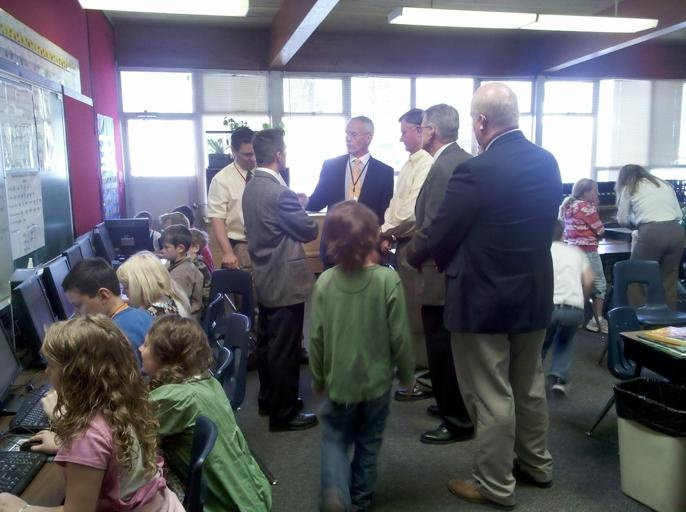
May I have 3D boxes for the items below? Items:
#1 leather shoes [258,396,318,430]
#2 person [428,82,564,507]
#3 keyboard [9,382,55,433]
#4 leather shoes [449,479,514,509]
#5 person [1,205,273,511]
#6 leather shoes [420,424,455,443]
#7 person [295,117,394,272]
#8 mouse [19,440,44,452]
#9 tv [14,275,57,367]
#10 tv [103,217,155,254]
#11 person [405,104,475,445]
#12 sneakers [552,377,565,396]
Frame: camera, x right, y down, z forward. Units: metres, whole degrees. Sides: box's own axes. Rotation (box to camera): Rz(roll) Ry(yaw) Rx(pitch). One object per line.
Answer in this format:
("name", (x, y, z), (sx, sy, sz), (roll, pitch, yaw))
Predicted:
("leather shoes", (-0.421, 1.118, 3.815), (0.476, 0.224, 0.181), (-3, 8, -13))
("person", (0.876, 0.208, 2.976), (0.665, 2.234, 0.555), (-9, 16, -33))
("keyboard", (-1.447, 0.737, 2.523), (0.142, 0.059, 0.414), (8, 11, -14))
("leather shoes", (0.778, 1.267, 3.031), (0.330, 0.151, 0.122), (8, 10, 32))
("person", (-0.958, 0.505, 2.804), (1.244, 1.971, 0.971), (-3, 4, -3))
("leather shoes", (0.630, 1.153, 3.547), (0.182, 0.084, 0.102), (5, -5, -4))
("person", (0.049, -0.253, 4.771), (0.830, 2.012, 0.603), (-1, -3, 5))
("mouse", (-1.335, 0.806, 2.306), (0.071, 0.026, 0.044), (4, -4, -12))
("tv", (-1.617, 0.348, 2.813), (0.119, 0.391, 0.370), (-5, 22, -19))
("tv", (-2.160, -0.194, 5.427), (0.373, 0.409, 0.139), (0, 31, -2))
("person", (0.620, 0.136, 3.733), (0.570, 2.302, 0.705), (1, 9, 20))
("sneakers", (1.619, 0.967, 4.059), (0.067, 0.200, 0.138), (-5, 39, 29))
